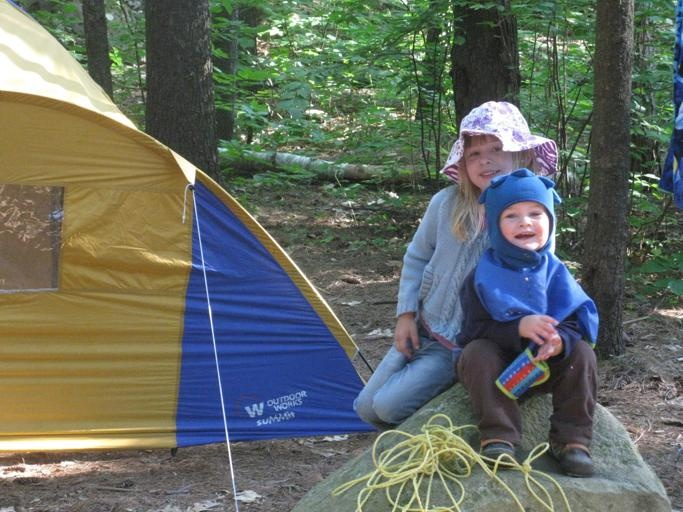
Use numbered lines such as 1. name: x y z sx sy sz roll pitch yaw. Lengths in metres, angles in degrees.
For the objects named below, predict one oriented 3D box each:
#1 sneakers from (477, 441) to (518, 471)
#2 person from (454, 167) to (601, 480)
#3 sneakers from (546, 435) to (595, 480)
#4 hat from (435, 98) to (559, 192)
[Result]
1. sneakers: 0.940 1.156 5.899 0.216 0.156 0.294 1 6 9
2. person: 1.134 0.382 5.982 0.832 1.784 0.552 1 8 5
3. sneakers: 1.374 1.193 5.946 0.148 0.105 0.307 -3 2 -22
4. hat: 1.066 -0.722 6.552 0.706 0.310 0.574 3 -6 -18
